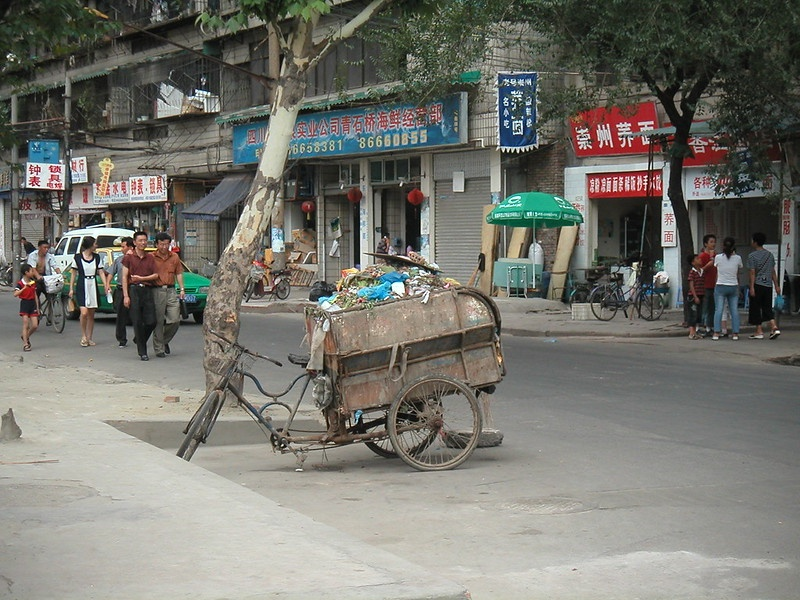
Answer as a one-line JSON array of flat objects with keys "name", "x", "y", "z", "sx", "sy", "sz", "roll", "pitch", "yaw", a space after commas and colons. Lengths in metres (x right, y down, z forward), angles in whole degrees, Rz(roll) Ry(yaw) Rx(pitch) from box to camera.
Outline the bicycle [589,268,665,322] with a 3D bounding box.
[{"name": "bicycle", "x": 5.172, "y": -0.041, "z": 23.079, "sx": 2.089, "sy": 1.243, "sz": 0.995, "roll": 0, "pitch": 2, "yaw": -2}]

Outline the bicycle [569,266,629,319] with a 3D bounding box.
[{"name": "bicycle", "x": 4.820, "y": -0.164, "z": 23.631, "sx": 1.948, "sy": 1.115, "sz": 0.997, "roll": -5, "pitch": 4, "yaw": -26}]

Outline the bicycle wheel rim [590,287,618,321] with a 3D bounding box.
[{"name": "bicycle wheel rim", "x": 4.656, "y": 0.080, "z": 22.904, "sx": 0.777, "sy": 0.807, "sz": 0.775, "roll": 2, "pitch": 2, "yaw": 6}]

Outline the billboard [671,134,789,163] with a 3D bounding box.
[{"name": "billboard", "x": 6.967, "y": -3.182, "z": 21.014, "sx": 1.439, "sy": 0.326, "sz": 1.248, "roll": -1, "pitch": -1, "yaw": -40}]

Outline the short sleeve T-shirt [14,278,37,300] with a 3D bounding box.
[{"name": "short sleeve T-shirt", "x": -6.881, "y": -0.174, "z": 18.432, "sx": 0.523, "sy": 0.418, "sz": 0.316, "roll": 3, "pitch": -6, "yaw": -36}]

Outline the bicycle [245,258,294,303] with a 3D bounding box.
[{"name": "bicycle", "x": -3.830, "y": -0.503, "z": 28.511, "sx": 0.787, "sy": 1.041, "sz": 1.632, "roll": -3, "pitch": -5, "yaw": 39}]

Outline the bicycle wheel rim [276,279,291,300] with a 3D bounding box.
[{"name": "bicycle wheel rim", "x": -3.351, "y": -0.297, "z": 28.507, "sx": 0.107, "sy": 0.533, "sz": 0.564, "roll": 13, "pitch": 23, "yaw": 35}]

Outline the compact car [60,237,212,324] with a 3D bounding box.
[{"name": "compact car", "x": -6.077, "y": -0.234, "z": 22.516, "sx": 4.536, "sy": 1.917, "sz": 2.140, "roll": -1, "pitch": 0, "yaw": 43}]

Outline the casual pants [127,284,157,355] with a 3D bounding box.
[{"name": "casual pants", "x": -4.201, "y": 0.362, "z": 16.542, "sx": 0.436, "sy": 1.213, "sz": 0.649, "roll": -4, "pitch": 9, "yaw": -33}]

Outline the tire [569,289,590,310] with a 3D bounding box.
[{"name": "tire", "x": 4.416, "y": -0.082, "z": 24.483, "sx": 0.482, "sy": 0.632, "sz": 0.212, "roll": -1, "pitch": 13, "yaw": -1}]

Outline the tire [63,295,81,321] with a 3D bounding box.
[{"name": "tire", "x": -7.287, "y": 0.144, "z": 22.196, "sx": 0.198, "sy": 0.550, "sz": 0.554, "roll": -4, "pitch": 1, "yaw": -45}]

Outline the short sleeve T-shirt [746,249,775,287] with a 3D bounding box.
[{"name": "short sleeve T-shirt", "x": 6.786, "y": -0.606, "z": 18.842, "sx": 0.415, "sy": 0.669, "sz": 0.559, "roll": 3, "pitch": 8, "yaw": 16}]

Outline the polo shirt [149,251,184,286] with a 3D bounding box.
[{"name": "polo shirt", "x": -3.977, "y": -0.528, "z": 16.936, "sx": 0.646, "sy": 0.575, "sz": 0.307, "roll": -1, "pitch": -8, "yaw": -36}]

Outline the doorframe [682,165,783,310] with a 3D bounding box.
[{"name": "doorframe", "x": 8.321, "y": -2.093, "z": 24.957, "sx": 2.426, "sy": 2.225, "sz": 0.822, "roll": 1, "pitch": 6, "yaw": 35}]

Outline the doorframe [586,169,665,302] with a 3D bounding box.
[{"name": "doorframe", "x": 6.019, "y": -2.184, "z": 26.553, "sx": 2.188, "sy": 1.996, "sz": 1.297, "roll": 0, "pitch": -10, "yaw": 26}]

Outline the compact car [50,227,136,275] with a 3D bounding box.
[{"name": "compact car", "x": -8.229, "y": -1.547, "z": 26.516, "sx": 2.574, "sy": 1.270, "sz": 1.672, "roll": 6, "pitch": 6, "yaw": 44}]

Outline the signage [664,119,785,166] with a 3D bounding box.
[{"name": "signage", "x": 6.738, "y": -3.265, "z": 20.713, "sx": 1.725, "sy": 1.203, "sz": 0.888, "roll": 7, "pitch": 25, "yaw": 17}]

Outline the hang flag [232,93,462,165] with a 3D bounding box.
[{"name": "hang flag", "x": -1.836, "y": -5.094, "z": 31.198, "sx": 8.940, "sy": 1.569, "sz": 0.983, "roll": 0, "pitch": -6, "yaw": 35}]

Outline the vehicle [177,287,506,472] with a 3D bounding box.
[{"name": "vehicle", "x": -0.621, "y": 0.776, "z": 10.178, "sx": 3.269, "sy": 1.838, "sz": 1.582, "roll": 2, "pitch": -2, "yaw": -16}]

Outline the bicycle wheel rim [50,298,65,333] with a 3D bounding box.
[{"name": "bicycle wheel rim", "x": -7.179, "y": 0.333, "z": 20.992, "sx": 0.218, "sy": 0.678, "sz": 0.723, "roll": -1, "pitch": -14, "yaw": -35}]

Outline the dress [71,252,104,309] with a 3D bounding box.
[{"name": "dress", "x": -5.884, "y": -0.367, "z": 18.948, "sx": 0.499, "sy": 0.979, "sz": 1.077, "roll": -1, "pitch": 7, "yaw": -17}]

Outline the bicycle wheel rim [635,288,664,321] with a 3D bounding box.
[{"name": "bicycle wheel rim", "x": 5.644, "y": 0.110, "z": 22.781, "sx": 0.627, "sy": 0.679, "sz": 0.118, "roll": -23, "pitch": 20, "yaw": -19}]

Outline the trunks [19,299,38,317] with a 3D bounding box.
[{"name": "trunks", "x": -6.818, "y": 0.146, "z": 18.426, "sx": 0.166, "sy": 0.274, "sz": 0.292, "roll": -16, "pitch": -14, "yaw": 31}]
